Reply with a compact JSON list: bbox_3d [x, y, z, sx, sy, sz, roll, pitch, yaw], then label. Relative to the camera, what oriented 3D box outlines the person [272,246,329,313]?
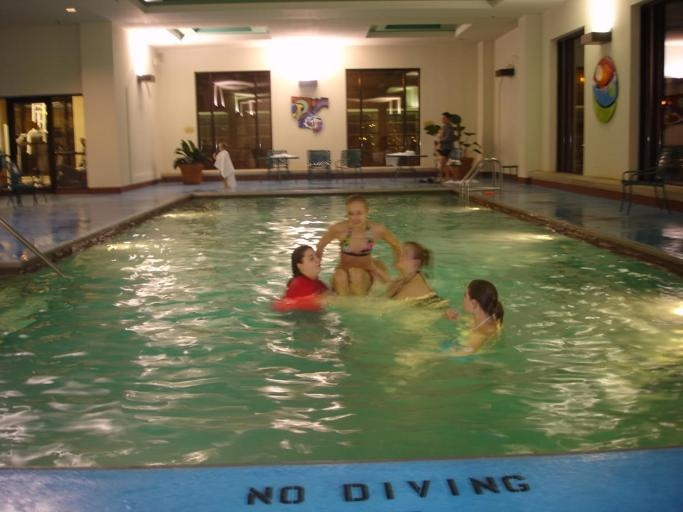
[{"bbox_3d":[-0.401,0.210,4.789,0.538,0.652,0.270,4,18,25],"label":"person"}]

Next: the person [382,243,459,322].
[{"bbox_3d":[0.667,0.175,4.683,0.935,0.629,0.593,3,13,3],"label":"person"}]

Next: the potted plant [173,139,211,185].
[{"bbox_3d":[-5.051,-3.108,17.512,1.511,1.161,1.165,-7,16,-32],"label":"potted plant"}]
